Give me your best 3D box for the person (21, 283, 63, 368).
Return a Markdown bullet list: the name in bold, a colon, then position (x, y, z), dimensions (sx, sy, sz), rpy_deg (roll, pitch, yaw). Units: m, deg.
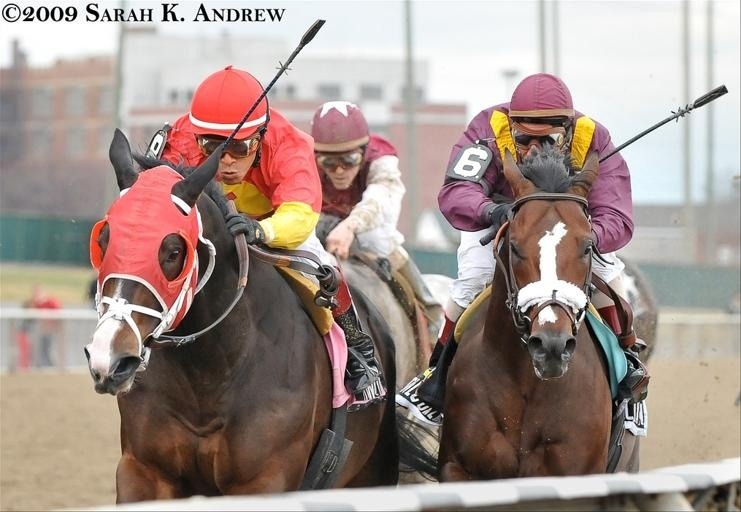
- **person**: position (-5.923, 1.340, 28.062), dimensions (0.676, 1.384, 1.357), rpy_deg (1, 2, -12)
